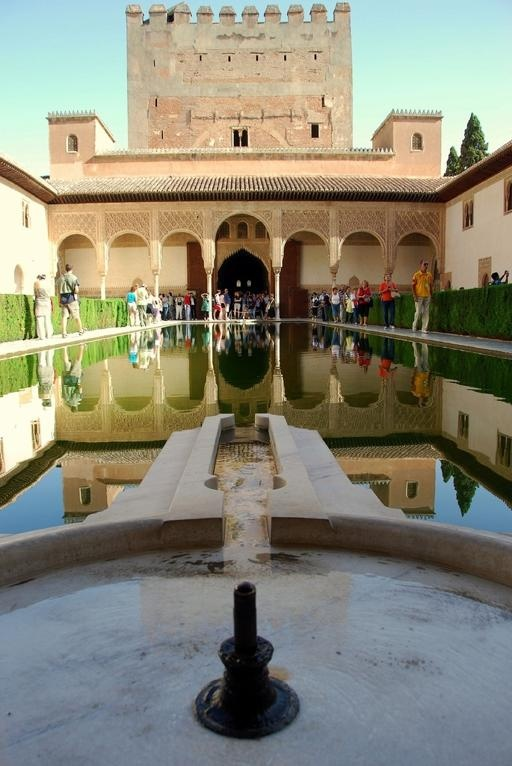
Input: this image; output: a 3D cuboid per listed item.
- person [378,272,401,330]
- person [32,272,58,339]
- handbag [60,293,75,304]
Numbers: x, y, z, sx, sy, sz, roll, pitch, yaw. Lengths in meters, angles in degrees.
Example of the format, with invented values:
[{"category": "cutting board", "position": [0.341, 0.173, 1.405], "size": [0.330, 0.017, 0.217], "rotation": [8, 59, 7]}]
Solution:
[{"category": "person", "position": [4.075, -2.500, 16.310], "size": [0.481, 1.673, 2.276], "rotation": [-1, 2, 15]}, {"category": "person", "position": [-4.949, -1.746, 12.340], "size": [0.406, 1.490, 1.642], "rotation": [-2, 1, -21]}, {"category": "handbag", "position": [-4.415, -1.988, 12.397], "size": [0.213, 0.183, 0.231], "rotation": [0, -2, -3]}]
